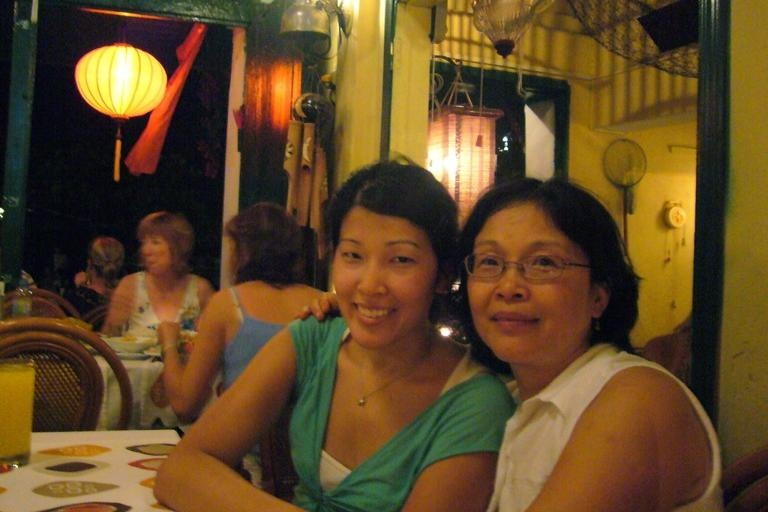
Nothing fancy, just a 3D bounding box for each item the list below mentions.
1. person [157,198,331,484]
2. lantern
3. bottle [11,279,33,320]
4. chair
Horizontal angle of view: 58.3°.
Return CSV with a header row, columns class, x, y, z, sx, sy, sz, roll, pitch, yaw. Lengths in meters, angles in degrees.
class,x,y,z,sx,sy,sz,roll,pitch,yaw
person,-0.710,0.548,3.753,0.927,1.668,0.815,-10,22,-41
lantern,-1.824,-0.996,4.781,0.528,0.818,0.538,3,-1,19
bottle,-2.247,0.255,4.297,0.095,0.346,0.090,13,20,-5
chair,-1.122,0.563,3.429,0.996,1.565,0.904,-3,-3,22
